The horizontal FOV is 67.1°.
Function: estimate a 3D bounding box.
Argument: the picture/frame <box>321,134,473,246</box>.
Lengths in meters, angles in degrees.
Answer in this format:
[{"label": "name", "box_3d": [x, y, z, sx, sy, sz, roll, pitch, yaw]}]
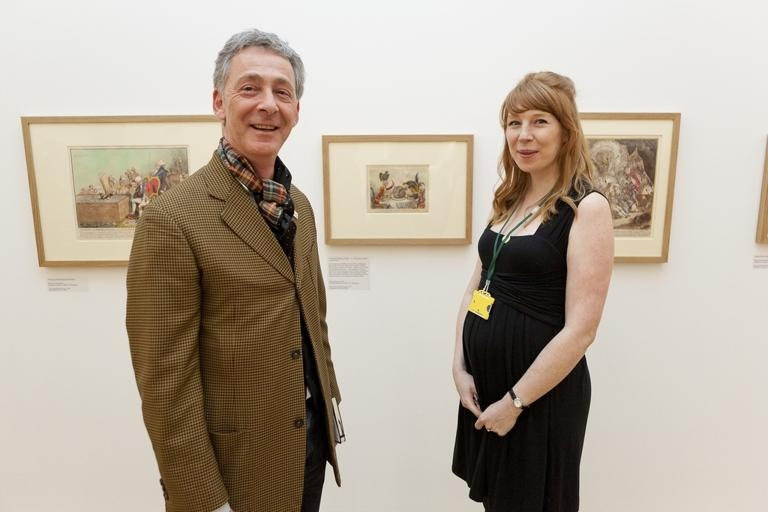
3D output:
[{"label": "picture/frame", "box_3d": [0.117, -0.505, 4.140, 0.801, 0.565, 0.031, 0, 9, -4]}]

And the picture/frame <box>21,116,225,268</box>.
[{"label": "picture/frame", "box_3d": [-1.701, -0.484, 3.809, 1.115, 0.743, 0.039, 0, 13, 1]}]
